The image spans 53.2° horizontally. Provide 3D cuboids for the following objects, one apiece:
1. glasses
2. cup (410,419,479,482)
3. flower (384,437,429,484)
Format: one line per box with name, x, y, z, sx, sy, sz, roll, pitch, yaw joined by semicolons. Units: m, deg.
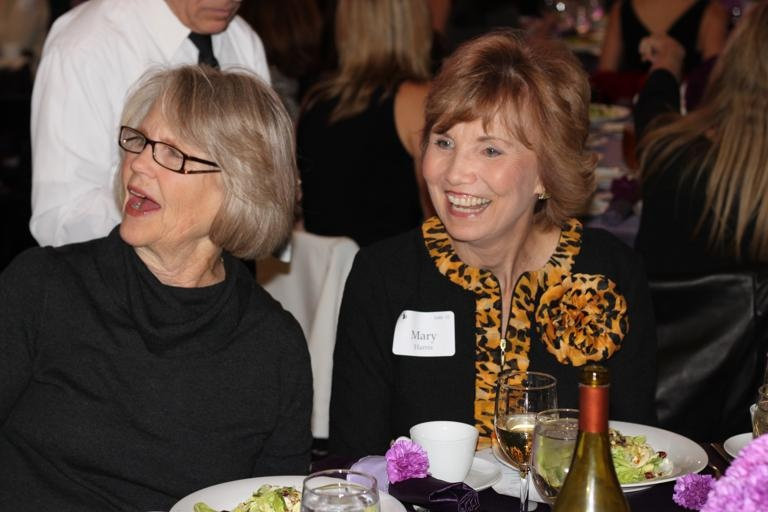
glasses;-0.667;-0.300;2.323;0.310;0.157;0.101;0;16;20
cup;0.166;0.509;2.060;0.160;0.122;0.157;-3;3;0
flower;0.059;0.525;1.965;0.105;0.108;0.053;-9;-7;1
